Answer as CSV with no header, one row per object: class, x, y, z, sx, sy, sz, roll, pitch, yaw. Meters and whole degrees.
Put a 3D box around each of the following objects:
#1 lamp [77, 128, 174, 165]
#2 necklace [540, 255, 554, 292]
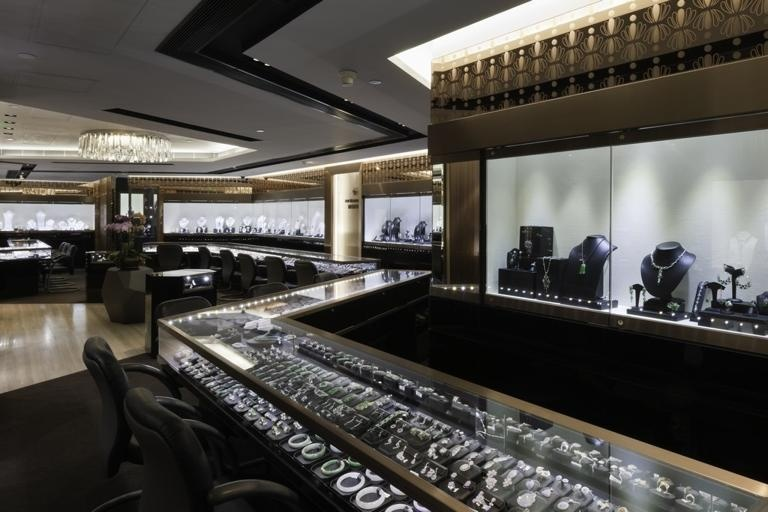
lamp,-4.502,-1.856,8.093,0.826,0.300,0.837,6,6,23
necklace,1.374,0.166,4.044,0.090,0.323,0.014,4,5,42
